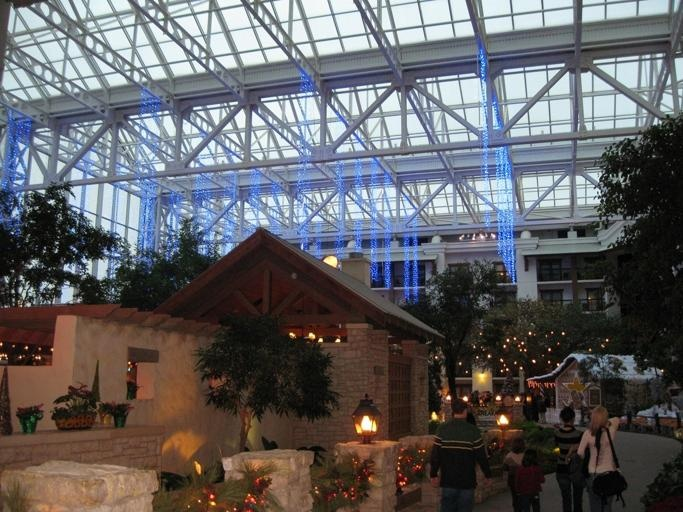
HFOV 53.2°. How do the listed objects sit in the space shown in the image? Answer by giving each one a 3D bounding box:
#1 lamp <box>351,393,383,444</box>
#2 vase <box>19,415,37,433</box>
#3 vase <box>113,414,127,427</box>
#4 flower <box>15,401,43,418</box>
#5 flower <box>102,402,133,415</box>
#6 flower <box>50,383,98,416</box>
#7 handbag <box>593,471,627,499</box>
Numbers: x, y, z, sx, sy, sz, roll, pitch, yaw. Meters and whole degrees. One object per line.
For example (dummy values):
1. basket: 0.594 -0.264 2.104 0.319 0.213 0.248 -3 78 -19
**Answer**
1. lamp: 0.490 3.244 14.044 0.566 1.097 0.570 1 8 11
2. vase: -5.253 2.780 11.329 0.277 0.280 0.336 2 -13 -14
3. vase: -4.133 3.008 12.581 0.189 0.227 0.325 6 -15 -30
4. flower: -5.490 2.651 11.873 0.358 0.171 0.380 -6 -9 14
5. flower: -4.213 2.795 12.609 0.336 0.197 0.375 1 -12 -3
6. flower: -4.746 2.569 12.087 0.596 0.455 0.630 1 -7 22
7. handbag: 4.720 3.963 11.967 0.607 0.452 0.184 1 -12 -10
